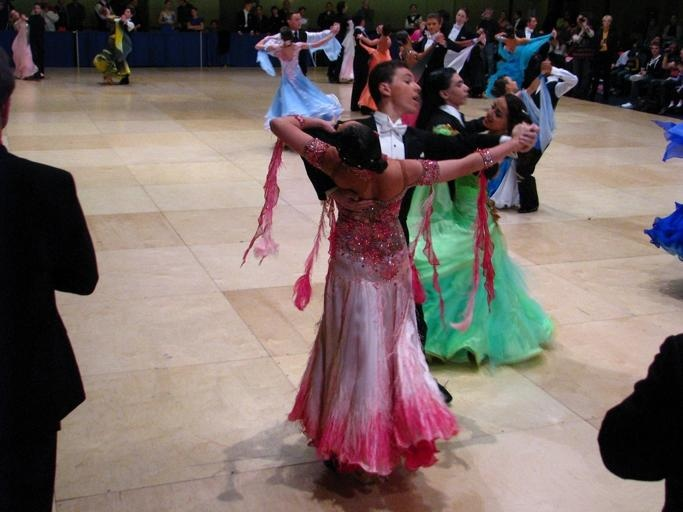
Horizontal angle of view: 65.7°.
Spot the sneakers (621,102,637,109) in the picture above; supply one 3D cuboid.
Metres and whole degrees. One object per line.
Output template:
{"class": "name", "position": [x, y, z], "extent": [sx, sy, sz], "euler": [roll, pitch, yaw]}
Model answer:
{"class": "sneakers", "position": [8.054, -4.220, 14.820], "extent": [0.394, 0.185, 0.149], "euler": [5, 24, 8]}
